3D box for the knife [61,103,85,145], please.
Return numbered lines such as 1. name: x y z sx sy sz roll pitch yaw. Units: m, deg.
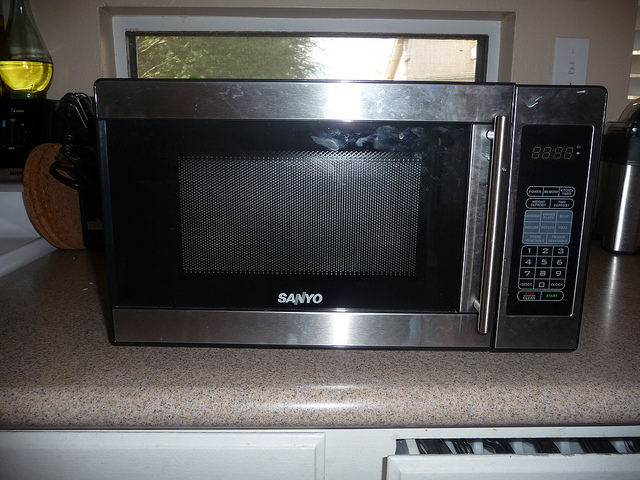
1. knife: -0.475 -0.227 1.064 0.037 0.015 0.060 -26 -79 -7
